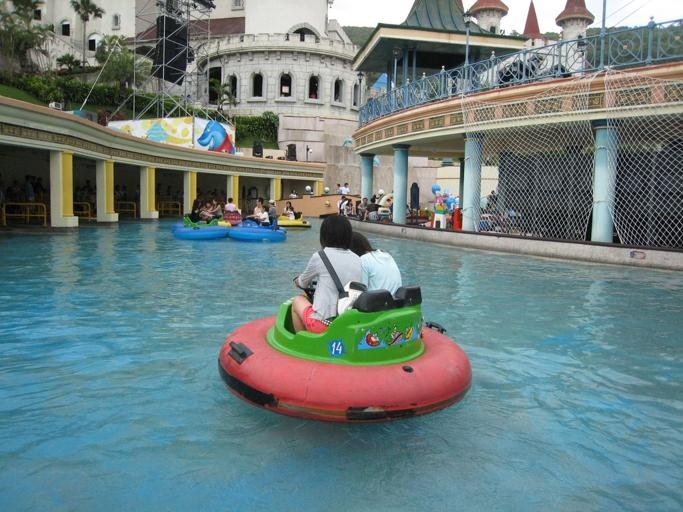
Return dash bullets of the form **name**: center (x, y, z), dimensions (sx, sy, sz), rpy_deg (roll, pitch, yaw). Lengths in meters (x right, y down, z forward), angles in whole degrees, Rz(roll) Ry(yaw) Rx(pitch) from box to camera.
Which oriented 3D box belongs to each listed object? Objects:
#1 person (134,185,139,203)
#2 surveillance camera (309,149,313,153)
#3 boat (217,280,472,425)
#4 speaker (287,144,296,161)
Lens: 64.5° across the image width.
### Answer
- **person**: center (-13.367, -4.049, 35.328), dimensions (0.286, 1.073, 2.104), rpy_deg (-3, 10, -20)
- **surveillance camera**: center (-2.691, -9.212, 47.322), dimensions (0.464, 0.245, 0.451), rpy_deg (1, 9, -3)
- **boat**: center (0.058, 0.783, 5.881), dimensions (2.636, 1.167, 2.581), rpy_deg (-2, 11, -33)
- **speaker**: center (-3.930, -8.077, 42.310), dimensions (0.760, 1.256, 1.423), rpy_deg (-2, 10, -13)
